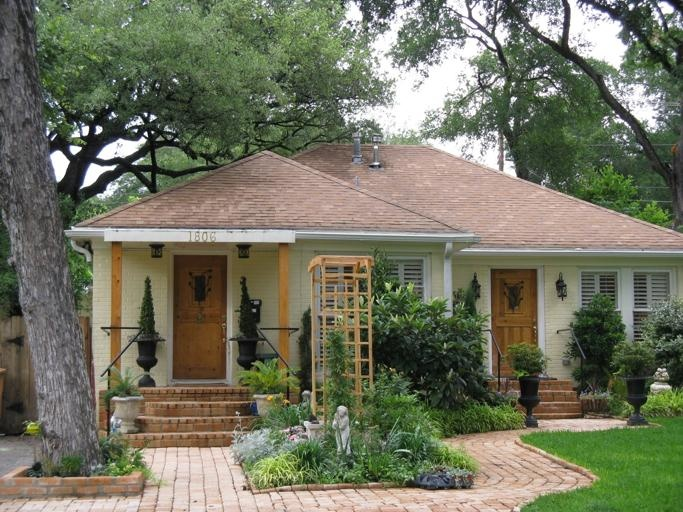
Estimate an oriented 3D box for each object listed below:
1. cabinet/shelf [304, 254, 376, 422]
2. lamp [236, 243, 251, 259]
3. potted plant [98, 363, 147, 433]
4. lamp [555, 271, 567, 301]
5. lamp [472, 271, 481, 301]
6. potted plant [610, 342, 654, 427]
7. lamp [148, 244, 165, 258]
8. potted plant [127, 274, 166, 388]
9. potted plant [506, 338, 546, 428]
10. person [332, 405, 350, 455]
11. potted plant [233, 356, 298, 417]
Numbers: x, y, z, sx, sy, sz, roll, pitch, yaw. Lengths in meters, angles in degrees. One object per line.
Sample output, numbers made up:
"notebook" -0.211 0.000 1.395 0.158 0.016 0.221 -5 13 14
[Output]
"cabinet/shelf" 0.004 1.682 16.216 1.045 3.350 3.071 0 -3 -4
"lamp" -2.320 -0.131 19.625 0.308 0.237 0.316 0 -3 -5
"potted plant" -4.876 3.055 17.675 1.307 1.827 1.359 1 -7 -6
"lamp" 5.938 0.794 22.029 0.345 0.757 0.220 0 -4 -1
"lamp" 3.599 0.785 21.785 0.345 0.748 0.240 1 -4 -16
"potted plant" 6.605 2.835 18.440 0.858 1.755 0.935 -2 -4 19
"lamp" -4.412 -0.127 19.616 0.319 0.297 0.323 -1 -2 26
"potted plant" -4.500 1.737 19.266 0.611 2.583 0.787 0 -4 -6
"potted plant" 4.209 2.906 18.604 0.793 1.812 0.736 -1 -4 12
"person" 0.008 3.009 14.275 0.325 0.846 0.694 -1 -4 1
"potted plant" -1.580 2.792 17.703 1.184 1.073 1.216 5 -8 -24
